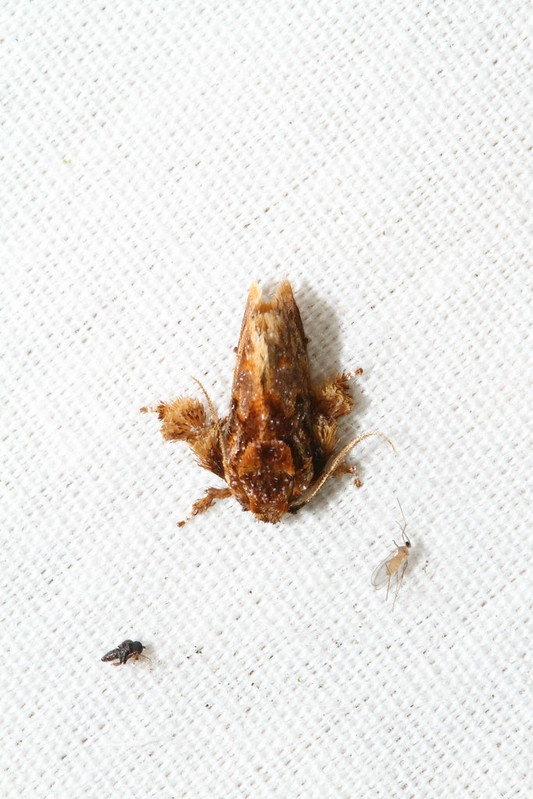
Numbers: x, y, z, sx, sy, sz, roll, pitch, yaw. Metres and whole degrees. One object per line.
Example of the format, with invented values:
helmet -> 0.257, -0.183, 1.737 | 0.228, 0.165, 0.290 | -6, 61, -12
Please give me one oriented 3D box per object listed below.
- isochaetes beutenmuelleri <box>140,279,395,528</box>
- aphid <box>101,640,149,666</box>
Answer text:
isochaetes beutenmuelleri -> 0.036, 0.009, 2.341 | 0.782, 0.647, 0.225 | 1, 2, 1
aphid -> -0.375, 0.676, 2.358 | 0.101, 0.031, 0.068 | -18, 24, -19
